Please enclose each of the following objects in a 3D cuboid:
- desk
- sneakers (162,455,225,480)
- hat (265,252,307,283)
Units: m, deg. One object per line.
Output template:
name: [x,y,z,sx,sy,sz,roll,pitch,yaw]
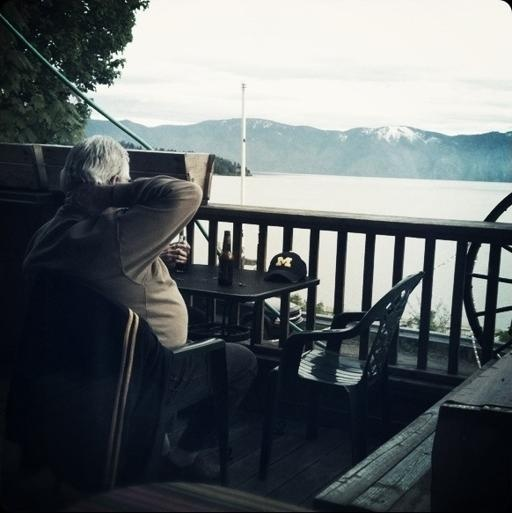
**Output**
desk: [-0.030,0.489,2.956,0.867,0.491,0.523,12,22,38]
sneakers: [-0.295,0.955,2.354,0.192,0.126,0.123,5,-9,-5]
hat: [0.171,0.063,2.947,0.133,0.126,0.206,4,-7,21]
